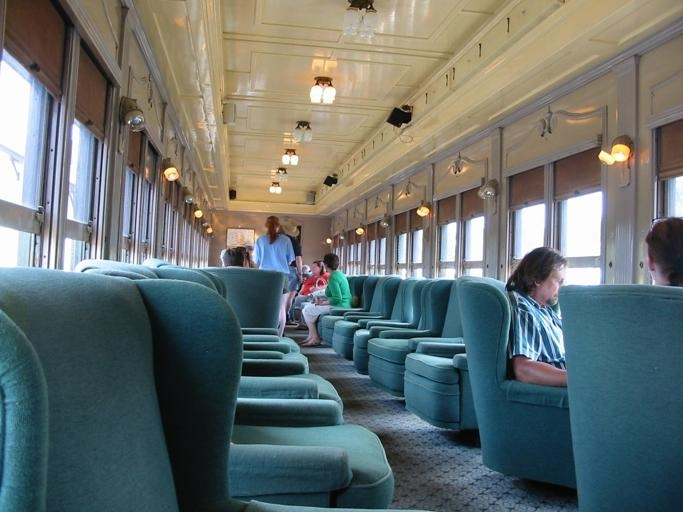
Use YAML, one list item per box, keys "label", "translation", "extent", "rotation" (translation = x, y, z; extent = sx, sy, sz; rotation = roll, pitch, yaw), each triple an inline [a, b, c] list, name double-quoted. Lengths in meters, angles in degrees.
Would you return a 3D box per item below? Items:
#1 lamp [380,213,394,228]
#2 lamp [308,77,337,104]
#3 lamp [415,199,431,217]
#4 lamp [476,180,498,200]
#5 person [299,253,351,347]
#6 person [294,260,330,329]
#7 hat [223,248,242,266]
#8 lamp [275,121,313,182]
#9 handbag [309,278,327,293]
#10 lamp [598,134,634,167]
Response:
- label: "lamp"
  translation: [1.012, -0.821, 11.242]
  extent: [0.309, 0.306, 0.221]
  rotation: [9, -2, -29]
- label: "lamp"
  translation: [-0.275, -2.417, 7.119]
  extent: [0.381, 0.365, 0.201]
  rotation: [3, -7, -24]
- label: "lamp"
  translation: [1.494, -0.869, 9.031]
  extent: [0.206, 0.270, 0.465]
  rotation: [2, -1, -5]
- label: "lamp"
  translation: [1.951, -0.910, 6.619]
  extent: [0.201, 0.236, 0.404]
  rotation: [2, -1, -8]
- label: "person"
  translation: [-0.233, 0.685, 7.815]
  extent: [0.719, 1.435, 0.582]
  rotation: [0, 3, 3]
- label: "person"
  translation: [-0.485, 0.723, 9.815]
  extent: [0.525, 1.309, 0.696]
  rotation: [2, 27, 34]
- label: "hat"
  translation: [-1.078, 0.007, 4.809]
  extent: [0.137, 0.191, 0.180]
  rotation: [2, 4, 0]
- label: "lamp"
  translation: [-1.084, -2.232, 10.614]
  extent: [0.463, 0.803, 2.865]
  rotation: [12, -17, -5]
- label: "handbag"
  translation: [-0.419, 0.555, 9.267]
  extent: [0.254, 0.356, 0.349]
  rotation: [10, -10, -33]
- label: "lamp"
  translation: [2.456, -0.964, 4.503]
  extent: [0.212, 0.215, 0.352]
  rotation: [2, -1, -5]
